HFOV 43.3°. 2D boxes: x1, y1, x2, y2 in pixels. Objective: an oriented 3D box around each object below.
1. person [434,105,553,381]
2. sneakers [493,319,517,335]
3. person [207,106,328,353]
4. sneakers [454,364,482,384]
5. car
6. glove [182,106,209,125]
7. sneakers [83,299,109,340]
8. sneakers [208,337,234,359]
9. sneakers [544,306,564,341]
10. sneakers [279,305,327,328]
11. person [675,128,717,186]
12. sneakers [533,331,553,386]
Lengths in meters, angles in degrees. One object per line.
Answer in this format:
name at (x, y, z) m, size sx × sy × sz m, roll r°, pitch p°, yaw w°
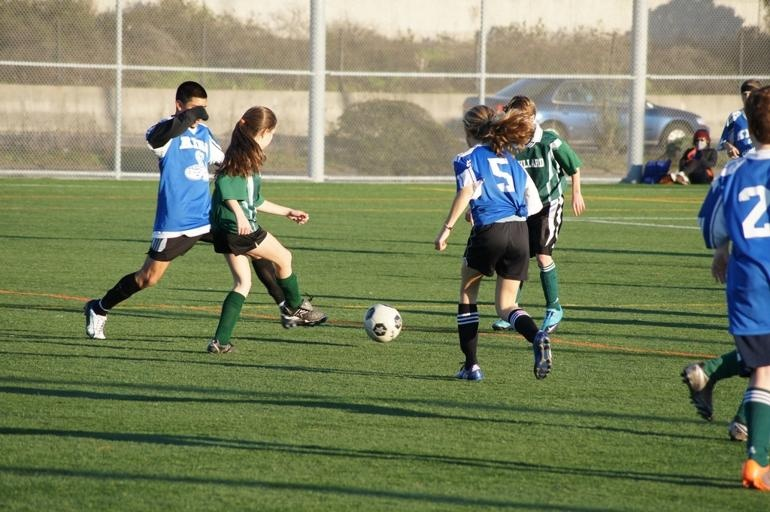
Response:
person at (0.937, -0.089, 7.861) m, size 0.960 × 2.150 × 0.775 m, roll 6°, pitch 13°, yaw 24°
sneakers at (1.183, 0.677, 9.374) m, size 0.260 × 0.101 × 0.125 m, roll 1°, pitch 33°, yaw 11°
person at (-1.200, -0.262, 8.664) m, size 0.417 × 2.089 × 1.150 m, roll 9°, pitch 14°, yaw 34°
sneakers at (0.678, 0.962, 7.875) m, size 0.219 × 0.112 × 0.097 m, roll 5°, pitch 5°, yaw 44°
car at (5.234, -3.656, 25.023) m, size 5.514 × 2.004 × 2.442 m, roll -2°, pitch 7°, yaw -9°
glove at (-1.674, -1.246, 8.640) m, size 0.150 × 0.158 × 0.346 m, roll 4°, pitch 13°, yaw 14°
sneakers at (-2.610, 0.596, 8.816) m, size 0.192 × 0.432 × 0.148 m, roll -12°, pitch -6°, yaw 25°
sneakers at (-1.441, 0.800, 8.407) m, size 0.242 × 0.121 × 0.096 m, roll -1°, pitch 6°, yaw -31°
sneakers at (1.634, 0.629, 9.168) m, size 0.144 × 0.199 × 0.419 m, roll -7°, pitch 25°, yaw 33°
sneakers at (-0.779, 0.581, 9.224) m, size 0.446 × 0.233 × 0.181 m, roll -4°, pitch 31°, yaw -8°
person at (7.309, -2.317, 22.900) m, size 1.361 × 1.423 × 0.774 m, roll 5°, pitch -2°, yaw -42°
sneakers at (1.228, 0.789, 7.558) m, size 0.141 × 0.390 × 0.165 m, roll 3°, pitch 12°, yaw 9°
